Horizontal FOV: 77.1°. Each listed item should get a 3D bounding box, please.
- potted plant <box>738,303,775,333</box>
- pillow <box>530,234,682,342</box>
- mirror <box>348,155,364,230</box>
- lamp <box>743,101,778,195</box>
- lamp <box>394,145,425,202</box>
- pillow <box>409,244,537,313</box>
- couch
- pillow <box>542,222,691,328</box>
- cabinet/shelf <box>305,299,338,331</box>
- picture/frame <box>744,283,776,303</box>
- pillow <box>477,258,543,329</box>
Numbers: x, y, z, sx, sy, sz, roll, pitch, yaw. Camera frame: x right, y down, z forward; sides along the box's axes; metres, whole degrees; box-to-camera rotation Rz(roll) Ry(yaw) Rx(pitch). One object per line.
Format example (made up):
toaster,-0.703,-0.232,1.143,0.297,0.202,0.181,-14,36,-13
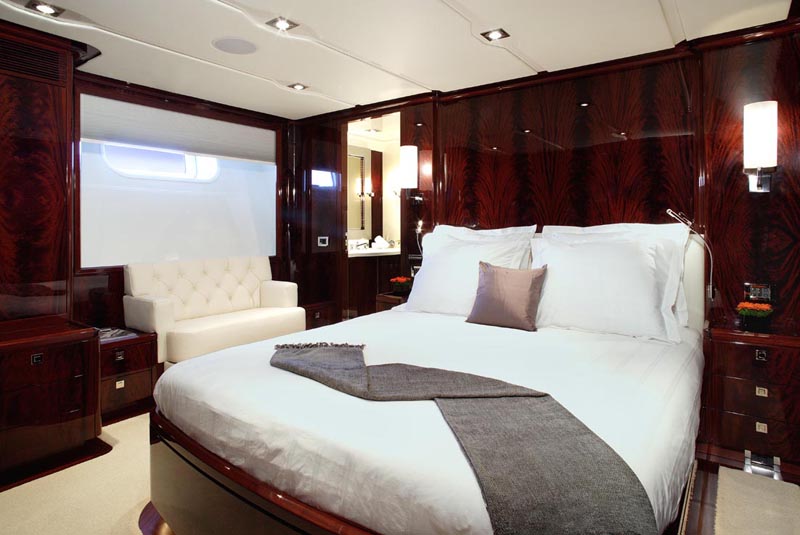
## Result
potted plant,2.446,0.338,3.481,0.182,0.179,0.212,1,7,39
pillow,1.455,0.131,3.540,0.837,0.776,0.248,0,-15,25
mirror,-0.647,-1.117,7.521,0.103,1.120,0.297,2,7,39
lamp,2.569,-0.848,3.595,0.214,0.624,0.259,1,7,37
lamp,0.075,-0.984,5.118,0.236,0.529,0.211,-1,6,15
pillow,0.458,0.061,4.035,0.695,0.676,0.208,0,-25,44
couch,-1.745,0.386,5.098,0.832,0.956,1.549,3,7,40
pillow,1.565,0.082,3.597,0.775,0.565,0.116,1,-16,42
cabinet/shelf,-0.973,0.592,6.071,0.507,0.341,0.273,0,-3,-45
picture/frame,2.621,0.181,3.698,0.125,0.212,0.227,7,-7,-44
pillow,0.772,0.202,3.727,0.526,0.465,0.270,4,7,33
